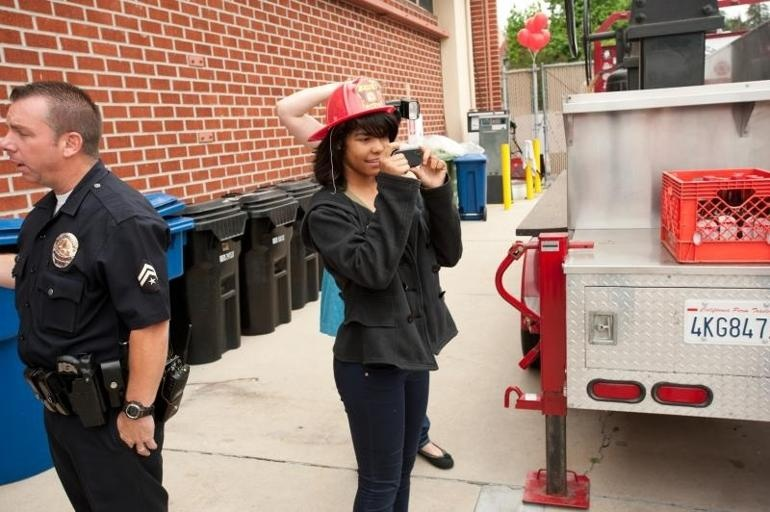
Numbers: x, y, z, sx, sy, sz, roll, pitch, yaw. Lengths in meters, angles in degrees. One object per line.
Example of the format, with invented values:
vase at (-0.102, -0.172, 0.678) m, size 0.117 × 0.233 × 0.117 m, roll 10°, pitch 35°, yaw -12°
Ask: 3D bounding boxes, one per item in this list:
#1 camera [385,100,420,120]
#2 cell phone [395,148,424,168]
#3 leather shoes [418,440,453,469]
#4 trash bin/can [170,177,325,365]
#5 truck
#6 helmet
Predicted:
camera at (0.095, -0.786, 3.209) m, size 0.162 × 0.099 × 0.164 m, roll 3°, pitch 9°, yaw 21°
cell phone at (0.123, -0.470, 2.863) m, size 0.182 × 0.087 × 0.065 m, roll -12°, pitch 16°, yaw -40°
leather shoes at (0.334, 1.334, 4.096) m, size 0.115 × 0.077 × 0.286 m, roll -12°, pitch 16°, yaw -38°
trash bin/can at (-1.339, 0.164, 5.628) m, size 0.606 × 0.819 × 1.702 m, roll 4°, pitch 17°, yaw 14°
truck at (1.552, 0.166, 3.815) m, size 1.636 × 2.440 × 1.433 m, roll 2°, pitch 12°, yaw 14°
helmet at (-0.195, -0.725, 2.923) m, size 0.388 × 0.163 × 0.273 m, roll -21°, pitch 5°, yaw 31°
